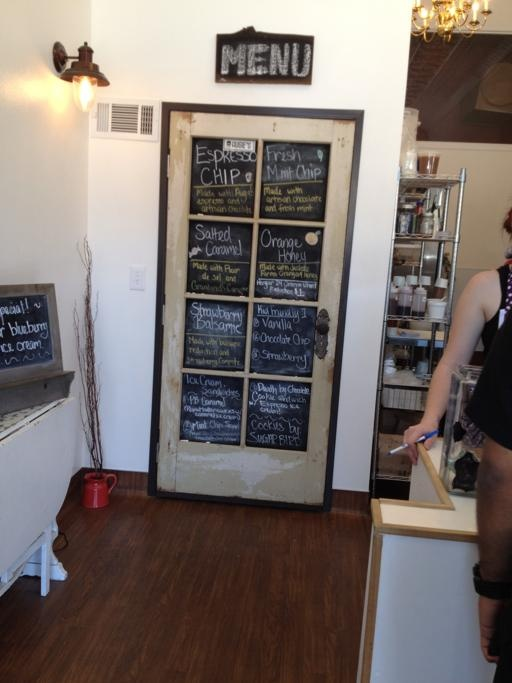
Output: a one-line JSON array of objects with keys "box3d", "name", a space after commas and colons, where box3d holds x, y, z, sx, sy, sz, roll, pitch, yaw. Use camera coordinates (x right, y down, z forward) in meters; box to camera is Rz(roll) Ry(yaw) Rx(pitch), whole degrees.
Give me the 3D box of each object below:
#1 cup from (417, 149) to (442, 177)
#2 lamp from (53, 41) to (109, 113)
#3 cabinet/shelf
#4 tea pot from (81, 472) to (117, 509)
[{"box3d": [0.951, -0.981, 2.943, 0.156, 0.177, 0.154, -2, 16, 1], "name": "cup"}, {"box3d": [-0.753, -1.157, 2.275, 0.220, 0.285, 0.191, 5, 9, 17], "name": "lamp"}, {"box3d": [0.908, 0.083, 3.280, 0.363, 1.662, 0.371, 2, -5, 34], "name": "cabinet/shelf"}, {"box3d": [-0.842, 0.813, 2.856, 0.123, 0.146, 0.192, 1, -17, -1], "name": "tea pot"}]
